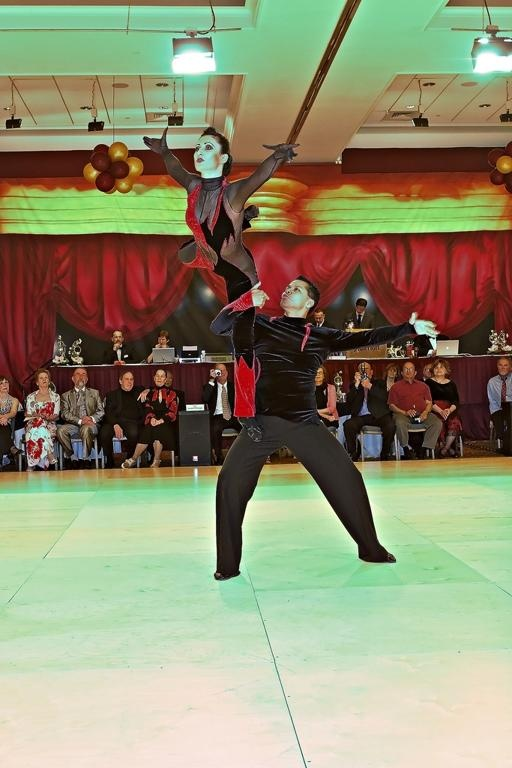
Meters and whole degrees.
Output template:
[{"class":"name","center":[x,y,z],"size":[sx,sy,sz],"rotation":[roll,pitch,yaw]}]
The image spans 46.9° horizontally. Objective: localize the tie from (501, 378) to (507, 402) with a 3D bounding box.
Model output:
[{"class":"tie","center":[4.192,0.089,10.025],"size":[0.086,0.389,0.152],"rotation":[-5,-7,29]}]

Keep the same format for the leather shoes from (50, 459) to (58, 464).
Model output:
[{"class":"leather shoes","center":[-3.189,1.242,9.385],"size":[0.099,0.066,0.181],"rotation":[0,-9,-20]}]

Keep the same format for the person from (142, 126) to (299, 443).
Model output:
[{"class":"person","center":[-0.178,-0.568,2.823],"size":[0.588,1.468,0.783],"rotation":[-1,-6,-10]}]

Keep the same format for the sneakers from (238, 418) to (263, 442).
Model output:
[{"class":"sneakers","center":[-0.020,0.233,3.131],"size":[0.095,0.144,0.037],"rotation":[-11,19,46]}]

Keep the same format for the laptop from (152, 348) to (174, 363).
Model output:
[{"class":"laptop","center":[-1.656,-0.505,10.593],"size":[0.400,0.240,0.261],"rotation":[2,9,-1]}]

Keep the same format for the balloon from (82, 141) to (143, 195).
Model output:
[{"class":"balloon","center":[-2.127,-3.296,8.798],"size":[0.825,0.754,0.572],"rotation":[-1,-6,-12]}]

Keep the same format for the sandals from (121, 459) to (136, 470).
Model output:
[{"class":"sandals","center":[-1.973,1.239,9.258],"size":[0.276,0.148,0.229],"rotation":[2,-7,-35]}]

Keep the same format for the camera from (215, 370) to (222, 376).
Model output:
[{"class":"camera","center":[-0.625,-0.183,9.830],"size":[0.129,0.107,0.043],"rotation":[0,-1,4]}]

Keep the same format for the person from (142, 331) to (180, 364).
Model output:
[{"class":"person","center":[-1.844,-0.717,11.425],"size":[0.773,0.440,0.767],"rotation":[0,-5,-4]}]
